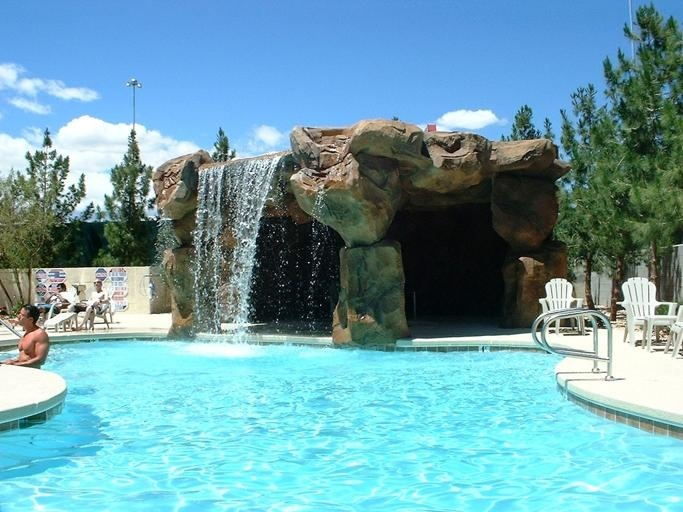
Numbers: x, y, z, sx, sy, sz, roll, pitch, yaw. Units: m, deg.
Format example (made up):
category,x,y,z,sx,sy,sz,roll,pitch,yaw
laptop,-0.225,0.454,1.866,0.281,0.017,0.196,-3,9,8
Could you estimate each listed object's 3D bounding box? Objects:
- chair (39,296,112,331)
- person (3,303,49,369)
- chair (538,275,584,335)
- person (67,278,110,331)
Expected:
category,x,y,z,sx,sy,sz,roll,pitch,yaw
chair,-6.802,1.318,15.450,0.837,0.998,1.776,-6,-10,22
person,-4.424,1.075,8.424,0.549,0.829,0.484,1,3,22
chair,4.264,0.919,11.673,0.980,1.465,1.058,-2,-3,18
person,-6.786,1.238,16.043,1.015,1.656,1.282,-4,-5,38
